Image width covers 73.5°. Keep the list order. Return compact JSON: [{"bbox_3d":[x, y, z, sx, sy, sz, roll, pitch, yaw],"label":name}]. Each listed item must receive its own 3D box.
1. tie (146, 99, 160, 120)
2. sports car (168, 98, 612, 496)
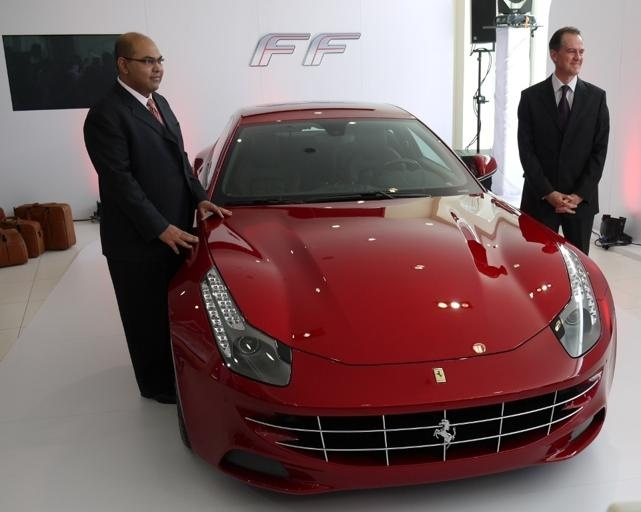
[{"bbox_3d":[-0.652,-0.566,1.682,0.020,0.076,0.047,-26,33,17],"label":"tie"},{"bbox_3d":[0.062,-0.259,2.294,1.508,0.877,2.810,-4,28,-12],"label":"sports car"}]
